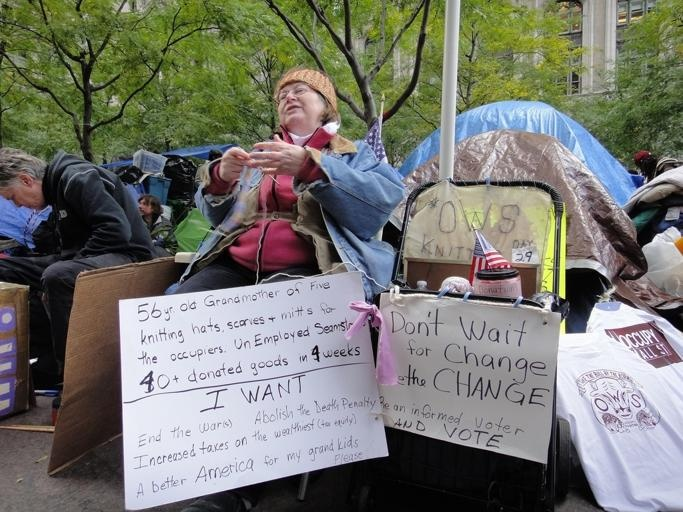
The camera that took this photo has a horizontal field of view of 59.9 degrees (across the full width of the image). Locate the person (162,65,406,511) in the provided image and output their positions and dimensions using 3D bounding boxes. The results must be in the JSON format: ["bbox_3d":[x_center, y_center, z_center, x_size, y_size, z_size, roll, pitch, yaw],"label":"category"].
[{"bbox_3d":[-0.280,-0.458,3.575,1.291,1.396,0.666,-2,10,7],"label":"person"}]

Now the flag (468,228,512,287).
[{"bbox_3d":[0.819,0.013,3.255,0.258,0.315,0.150,-14,-26,41],"label":"flag"}]

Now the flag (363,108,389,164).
[{"bbox_3d":[0.309,-1.050,5.258,0.172,0.459,0.051,4,46,-7],"label":"flag"}]
